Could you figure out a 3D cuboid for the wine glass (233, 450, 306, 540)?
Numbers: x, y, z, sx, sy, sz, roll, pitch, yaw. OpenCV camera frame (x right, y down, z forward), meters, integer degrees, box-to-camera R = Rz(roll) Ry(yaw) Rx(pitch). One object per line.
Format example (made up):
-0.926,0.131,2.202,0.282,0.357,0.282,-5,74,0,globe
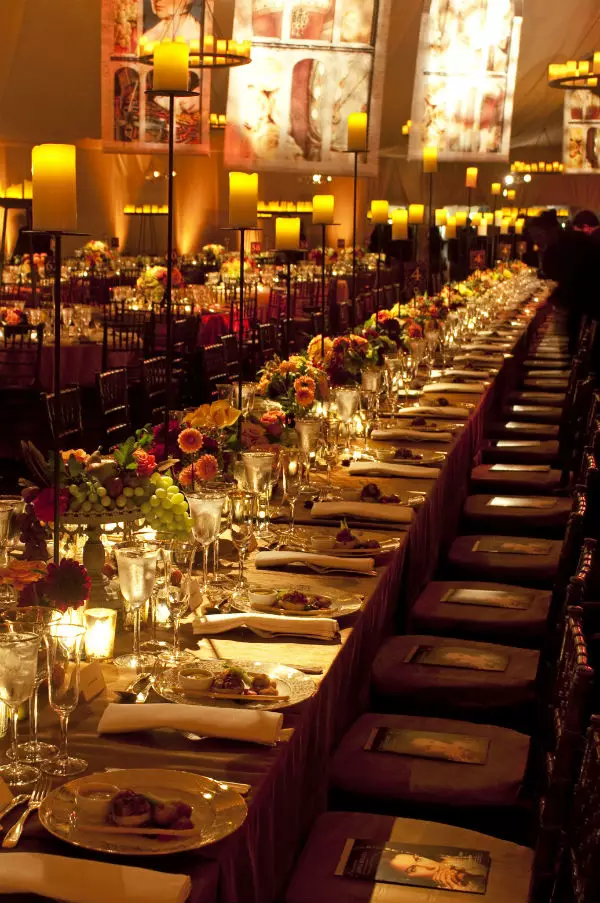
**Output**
-0.092,0.116,2.176,0.249,0.340,0.243,0,3,1,wine glass

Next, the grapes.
-0.376,0.086,1.569,0.217,0.107,0.131,-3,32,-22,grapes

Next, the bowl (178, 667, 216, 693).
-0.172,0.370,1.177,0.066,0.023,0.074,3,10,5,bowl

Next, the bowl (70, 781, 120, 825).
-0.219,0.366,0.749,0.032,0.024,0.036,1,3,2,bowl

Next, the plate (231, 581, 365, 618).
0.001,0.337,1.656,0.290,0.053,0.193,3,10,5,plate

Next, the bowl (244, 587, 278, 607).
-0.089,0.323,1.599,0.045,0.026,0.042,1,11,0,bowl

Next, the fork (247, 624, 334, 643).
-0.016,0.377,1.487,0.205,0.026,0.055,3,10,5,fork
